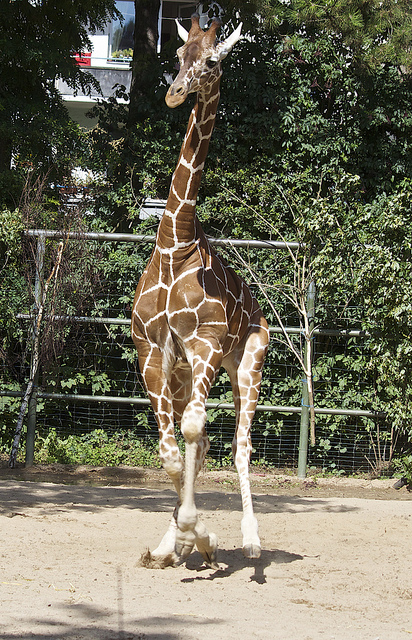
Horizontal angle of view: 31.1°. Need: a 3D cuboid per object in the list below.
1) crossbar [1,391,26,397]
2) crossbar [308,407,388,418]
[{"bbox_3d":[-1.724,0.649,6.518,0.151,0.048,0.331,7,-5,-27],"label":"crossbar"},{"bbox_3d":[1.239,0.827,6.651,0.775,0.070,0.447,5,-4,-8],"label":"crossbar"}]
